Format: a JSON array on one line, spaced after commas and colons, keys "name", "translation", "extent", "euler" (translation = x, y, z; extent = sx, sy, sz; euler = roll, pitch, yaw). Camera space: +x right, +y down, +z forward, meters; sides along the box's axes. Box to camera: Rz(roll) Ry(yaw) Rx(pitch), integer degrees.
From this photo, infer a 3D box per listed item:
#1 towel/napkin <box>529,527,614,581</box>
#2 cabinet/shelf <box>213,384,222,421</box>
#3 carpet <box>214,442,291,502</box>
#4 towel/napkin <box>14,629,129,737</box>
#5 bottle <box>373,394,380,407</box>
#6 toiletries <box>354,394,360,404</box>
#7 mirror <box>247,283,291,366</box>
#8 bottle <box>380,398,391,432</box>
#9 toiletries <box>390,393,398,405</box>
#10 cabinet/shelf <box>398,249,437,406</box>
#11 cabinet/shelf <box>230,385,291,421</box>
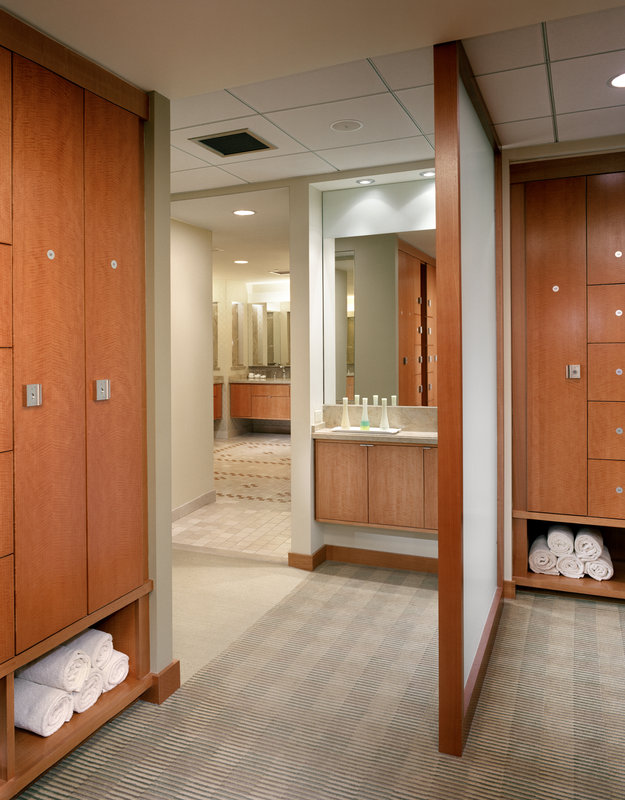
[{"name": "towel/napkin", "translation": [1.587, 0.946, 3.623], "extent": [0.325, 0.170, 0.354], "euler": [3, 9, 23]}, {"name": "cabinet/shelf", "translation": [-1.670, -0.009, 10.378], "extent": [0.106, 0.620, 0.291], "euler": [0, 3, 21]}, {"name": "carpet", "translation": [-0.841, 0.880, 8.051], "extent": [1.136, 0.113, 4.159], "euler": [-1, 3, -5]}, {"name": "towel/napkin", "translation": [-0.865, 1.001, 2.123], "extent": [0.200, 0.124, 0.276], "euler": [5, 14, 32]}, {"name": "bottle", "translation": [0.444, -0.017, 4.240], "extent": [0.054, 0.110, 0.057], "euler": [0, -1, 0]}, {"name": "toiletries", "translation": [0.320, -0.004, 4.253], "extent": [0.048, 0.095, 0.048], "euler": [0, 1, 19]}, {"name": "mirror", "translation": [-0.790, -1.391, 10.683], "extent": [0.720, 1.491, 0.381], "euler": [-1, 3, 6]}, {"name": "bottle", "translation": [0.505, 0.090, 4.161], "extent": [0.066, 0.220, 0.135], "euler": [-1, 3, 7]}, {"name": "toiletries", "translation": [0.565, -0.021, 4.194], "extent": [0.052, 0.106, 0.054], "euler": [0, -1, 3]}, {"name": "cabinet/shelf", "translation": [0.717, -0.525, 4.131], "extent": [0.251, 1.113, 0.218], "euler": [-1, 3, 8]}, {"name": "cabinet/shelf", "translation": [-0.931, -0.003, 10.411], "extent": [1.154, 0.642, 0.227], "euler": [0, 3, 23]}]
